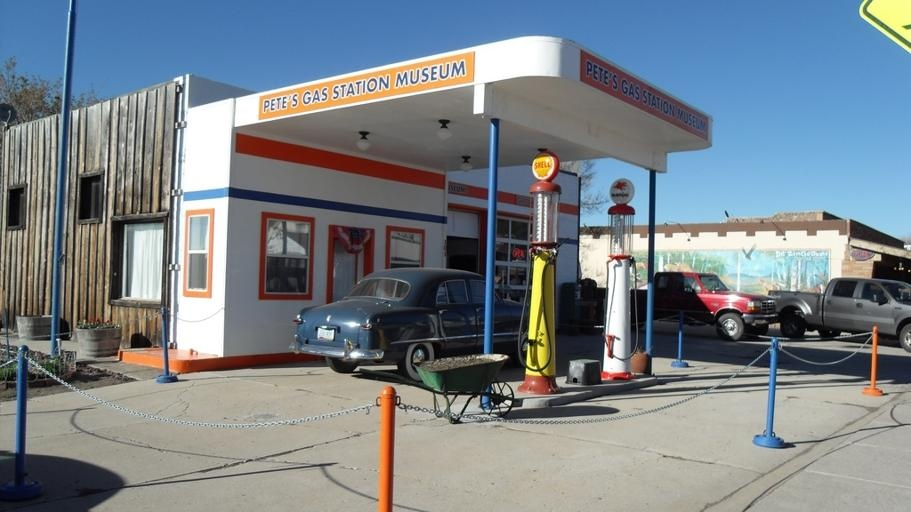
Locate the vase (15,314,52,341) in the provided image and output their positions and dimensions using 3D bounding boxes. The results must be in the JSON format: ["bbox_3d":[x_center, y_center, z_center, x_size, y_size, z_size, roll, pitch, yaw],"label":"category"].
[{"bbox_3d":[-12.124,2.065,21.989,1.037,0.681,0.347,0,-5,8],"label":"vase"}]

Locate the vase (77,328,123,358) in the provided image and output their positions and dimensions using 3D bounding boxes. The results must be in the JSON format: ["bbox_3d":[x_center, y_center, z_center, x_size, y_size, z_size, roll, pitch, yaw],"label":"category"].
[{"bbox_3d":[-9.120,2.230,19.724,0.822,0.535,0.880,-2,-7,10],"label":"vase"}]

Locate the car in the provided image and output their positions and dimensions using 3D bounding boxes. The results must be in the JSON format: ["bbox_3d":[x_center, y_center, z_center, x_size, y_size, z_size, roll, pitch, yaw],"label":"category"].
[{"bbox_3d":[-0.740,1.593,18.447,2.445,1.992,5.554,1,2,43],"label":"car"}]

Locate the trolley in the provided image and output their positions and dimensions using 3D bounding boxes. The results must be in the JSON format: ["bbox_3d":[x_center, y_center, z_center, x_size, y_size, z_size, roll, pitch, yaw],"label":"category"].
[{"bbox_3d":[0.123,2.683,15.677,2.425,1.004,1.237,-1,-3,-18],"label":"trolley"}]

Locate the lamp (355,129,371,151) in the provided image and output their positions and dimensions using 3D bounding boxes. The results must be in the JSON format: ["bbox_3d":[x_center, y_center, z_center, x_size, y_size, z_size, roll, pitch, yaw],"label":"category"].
[{"bbox_3d":[-2.368,-2.940,19.536,0.375,0.491,0.373,1,-8,2],"label":"lamp"}]
